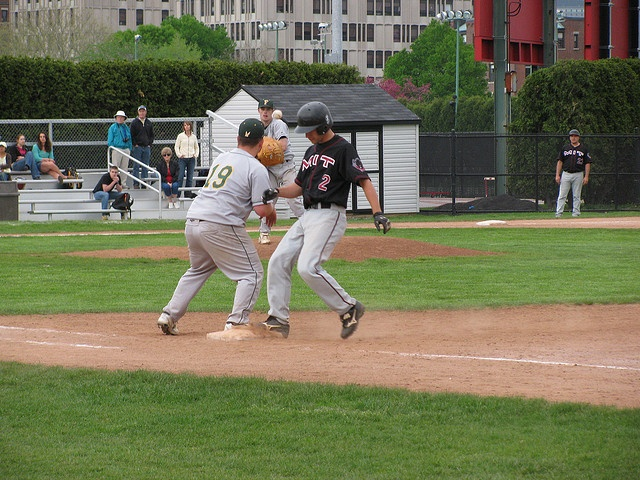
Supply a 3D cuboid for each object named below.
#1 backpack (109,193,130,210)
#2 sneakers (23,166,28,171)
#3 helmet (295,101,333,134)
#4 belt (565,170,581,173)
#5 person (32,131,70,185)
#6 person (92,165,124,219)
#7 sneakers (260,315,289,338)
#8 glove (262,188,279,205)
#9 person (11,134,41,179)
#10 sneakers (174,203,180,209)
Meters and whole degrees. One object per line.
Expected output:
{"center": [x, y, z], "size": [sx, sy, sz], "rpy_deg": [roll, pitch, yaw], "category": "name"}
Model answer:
{"center": [-5.333, -1.003, 34.281], "size": [0.486, 0.525, 0.332], "rpy_deg": [2, -5, 26], "category": "backpack"}
{"center": [-8.041, -1.987, 34.944], "size": [0.123, 0.146, 0.110], "rpy_deg": [8, -11, -16], "category": "sneakers"}
{"center": [-0.109, -1.922, 19.997], "size": [0.672, 0.467, 0.547], "rpy_deg": [-12, 24, -11], "category": "helmet"}
{"center": [6.866, -1.830, 34.612], "size": [0.447, 0.084, 0.133], "rpy_deg": [7, 11, 23], "category": "belt"}
{"center": [-7.492, -2.246, 34.994], "size": [0.694, 1.640, 1.463], "rpy_deg": [-14, 15, -37], "category": "person"}
{"center": [-5.680, -1.396, 34.281], "size": [0.685, 1.221, 0.797], "rpy_deg": [2, 10, 0], "category": "person"}
{"center": [-0.651, 1.404, 20.328], "size": [0.555, 0.250, 0.203], "rpy_deg": [30, -19, -11], "category": "sneakers"}
{"center": [-0.742, -0.686, 19.835], "size": [0.197, 0.238, 0.313], "rpy_deg": [4, 11, 13], "category": "glove"}
{"center": [-8.071, -2.208, 35.025], "size": [0.879, 1.397, 0.545], "rpy_deg": [-15, -12, 37], "category": "person"}
{"center": [-3.985, -0.954, 35.676], "size": [0.160, 0.196, 0.483], "rpy_deg": [-1, -1, -4], "category": "sneakers"}
